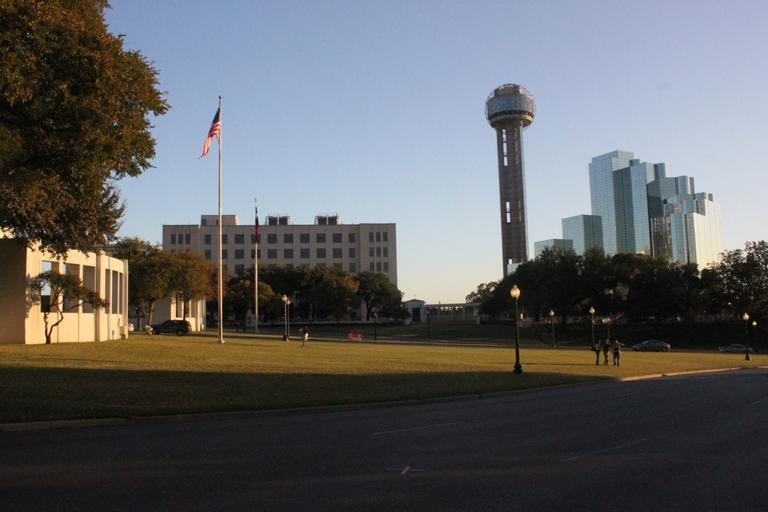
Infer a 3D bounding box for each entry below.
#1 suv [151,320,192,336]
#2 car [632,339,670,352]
[{"bbox_3d":[-20.763,6.996,82.409,3.436,1.510,1.648,5,-6,5],"label":"suv"},{"bbox_3d":[26.823,9.012,84.774,3.091,1.340,8.890,-2,-8,15],"label":"car"}]
